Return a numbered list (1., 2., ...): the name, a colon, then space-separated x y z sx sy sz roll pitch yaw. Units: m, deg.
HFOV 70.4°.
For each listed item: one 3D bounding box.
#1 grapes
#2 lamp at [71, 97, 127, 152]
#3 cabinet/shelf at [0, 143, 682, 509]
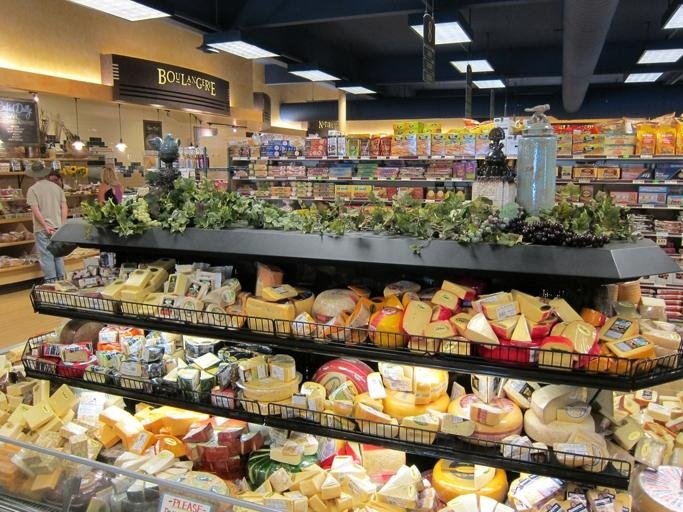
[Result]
1. grapes: 0.852 -0.112 2.003 0.516 0.114 0.167 4 13 16
2. lamp: -4.187 -2.253 8.251 0.319 0.767 0.995 7 7 36
3. cabinet/shelf: 0.042 0.124 2.317 2.811 1.358 0.521 4 13 17
